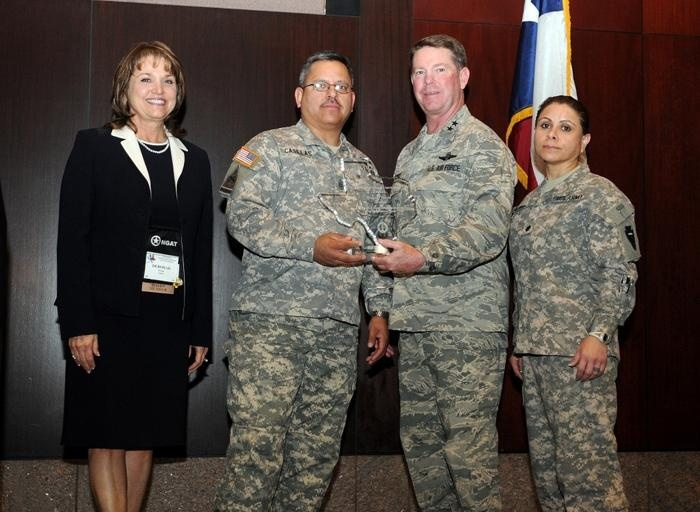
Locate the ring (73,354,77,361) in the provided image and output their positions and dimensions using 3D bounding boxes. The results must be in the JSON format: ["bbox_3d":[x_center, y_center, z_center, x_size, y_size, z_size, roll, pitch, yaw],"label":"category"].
[{"bbox_3d":[-1.297,0.473,3.091,0.021,0.031,0.008,3,10,36],"label":"ring"}]

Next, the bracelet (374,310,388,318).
[{"bbox_3d":[0.158,0.299,3.430,0.042,0.030,0.042,6,-11,-10],"label":"bracelet"}]

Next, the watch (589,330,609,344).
[{"bbox_3d":[1.178,0.373,3.104,0.053,0.036,0.060,12,9,-38],"label":"watch"}]
